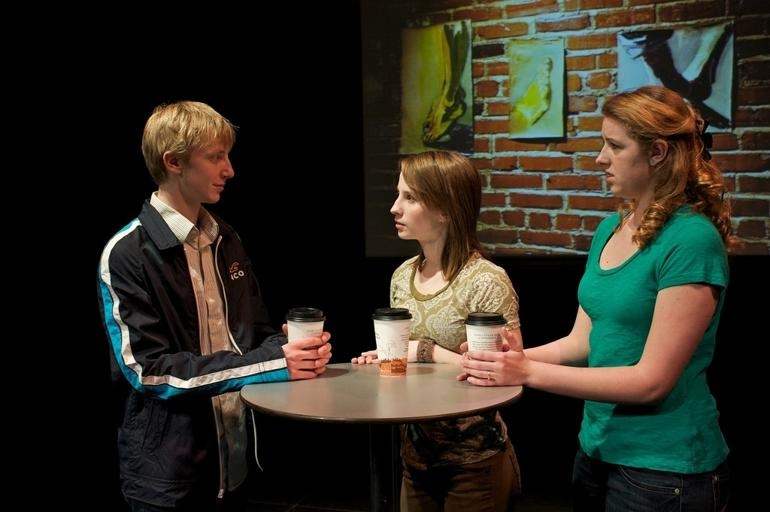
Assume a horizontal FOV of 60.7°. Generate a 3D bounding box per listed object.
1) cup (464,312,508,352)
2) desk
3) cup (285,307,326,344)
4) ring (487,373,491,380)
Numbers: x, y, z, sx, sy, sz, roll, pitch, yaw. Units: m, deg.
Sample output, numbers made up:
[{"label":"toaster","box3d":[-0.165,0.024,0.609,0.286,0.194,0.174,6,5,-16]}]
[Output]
[{"label":"cup","box3d":[0.427,0.343,2.796,0.200,0.172,0.186,-1,2,0]},{"label":"desk","box3d":[-0.031,0.566,2.674,0.815,0.458,0.778,-4,5,-22]},{"label":"cup","box3d":[-0.354,0.315,2.945,0.177,0.146,0.169,3,3,0]},{"label":"ring","box3d":[0.431,0.500,2.718,0.007,0.023,0.018,-3,-9,37]}]
